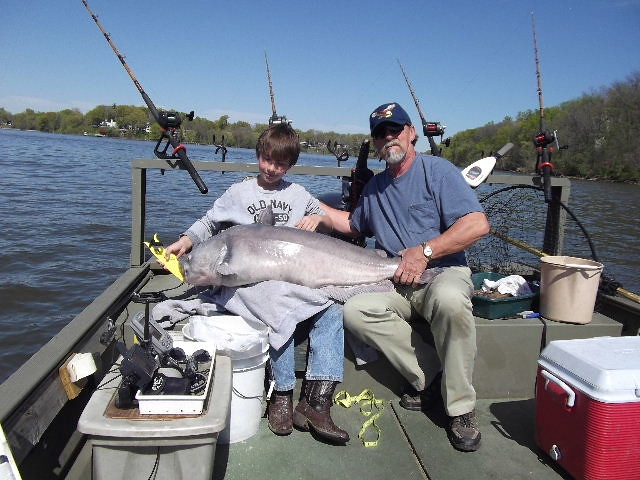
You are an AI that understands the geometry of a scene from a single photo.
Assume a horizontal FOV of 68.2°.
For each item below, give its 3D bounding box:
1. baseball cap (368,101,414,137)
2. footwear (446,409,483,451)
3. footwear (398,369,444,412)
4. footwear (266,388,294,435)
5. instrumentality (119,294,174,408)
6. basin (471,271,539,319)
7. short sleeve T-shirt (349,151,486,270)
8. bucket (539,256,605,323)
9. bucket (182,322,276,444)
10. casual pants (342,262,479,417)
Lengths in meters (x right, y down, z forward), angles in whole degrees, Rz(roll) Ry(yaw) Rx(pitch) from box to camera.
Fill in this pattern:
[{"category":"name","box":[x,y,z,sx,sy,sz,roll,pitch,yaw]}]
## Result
[{"category":"baseball cap","box":[0.504,-0.939,3.645,0.299,0.240,0.418,-14,1,23]},{"category":"footwear","box":[0.951,1.214,3.090,0.176,0.214,0.429,-1,-1,18]},{"category":"footwear","box":[0.698,1.074,3.372,0.380,0.264,0.147,0,12,-9]},{"category":"footwear","box":[-0.261,1.119,3.078,0.125,0.229,0.364,17,-9,-13]},{"category":"instrumentality","box":[-0.927,0.611,2.556,0.204,0.461,0.467,1,5,-7]},{"category":"basin","box":[1.321,0.482,3.690,0.379,0.124,0.399,-2,18,1]},{"category":"short sleeve T-shirt","box":[0.623,-0.320,3.705,1.003,0.494,0.904,-4,-35,6]},{"category":"bucket","box":[1.810,0.341,3.570,0.453,0.487,0.443,2,5,0]},{"category":"bucket","box":[-0.459,0.844,3.123,0.605,0.733,0.684,3,3,3]},{"category":"casual pants","box":[0.692,0.678,3.328,0.671,0.948,0.842,-8,-7,30]}]
